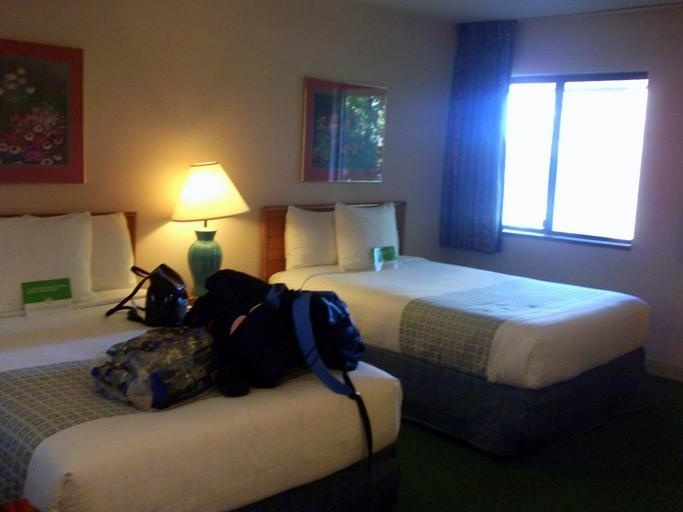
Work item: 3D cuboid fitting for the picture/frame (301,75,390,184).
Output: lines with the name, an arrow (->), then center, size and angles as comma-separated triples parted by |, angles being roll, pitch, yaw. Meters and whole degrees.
picture/frame -> 0.052, -1.184, 5.046 | 0.957, 0.888, 0.054 | 11, 16, 32

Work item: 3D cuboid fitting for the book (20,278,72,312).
book -> -1.806, 0.227, 3.160 | 0.276, 0.066, 0.211 | -8, 52, -40

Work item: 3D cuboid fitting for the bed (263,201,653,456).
bed -> 0.721, 0.585, 4.349 | 1.782, 1.667, 2.707 | -8, 13, -37

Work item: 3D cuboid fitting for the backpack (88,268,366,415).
backpack -> -0.493, 0.254, 2.342 | 0.836, 0.317, 0.625 | -4, 12, -33

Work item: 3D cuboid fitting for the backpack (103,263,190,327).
backpack -> -1.161, 0.235, 3.114 | 0.426, 0.351, 0.316 | 5, 6, 11
